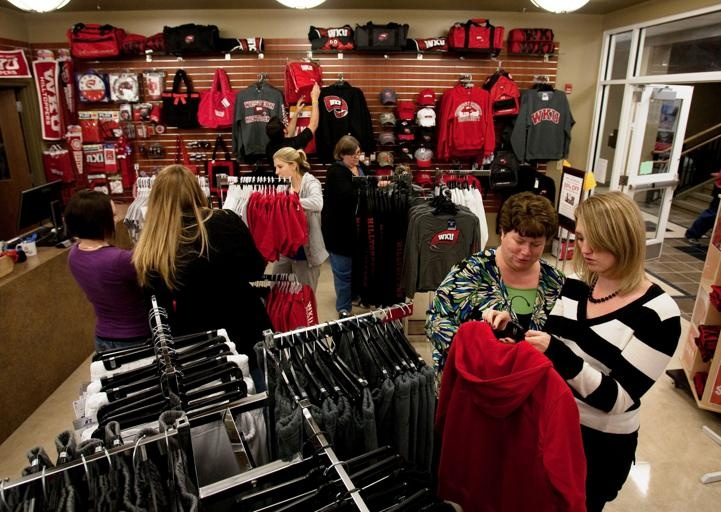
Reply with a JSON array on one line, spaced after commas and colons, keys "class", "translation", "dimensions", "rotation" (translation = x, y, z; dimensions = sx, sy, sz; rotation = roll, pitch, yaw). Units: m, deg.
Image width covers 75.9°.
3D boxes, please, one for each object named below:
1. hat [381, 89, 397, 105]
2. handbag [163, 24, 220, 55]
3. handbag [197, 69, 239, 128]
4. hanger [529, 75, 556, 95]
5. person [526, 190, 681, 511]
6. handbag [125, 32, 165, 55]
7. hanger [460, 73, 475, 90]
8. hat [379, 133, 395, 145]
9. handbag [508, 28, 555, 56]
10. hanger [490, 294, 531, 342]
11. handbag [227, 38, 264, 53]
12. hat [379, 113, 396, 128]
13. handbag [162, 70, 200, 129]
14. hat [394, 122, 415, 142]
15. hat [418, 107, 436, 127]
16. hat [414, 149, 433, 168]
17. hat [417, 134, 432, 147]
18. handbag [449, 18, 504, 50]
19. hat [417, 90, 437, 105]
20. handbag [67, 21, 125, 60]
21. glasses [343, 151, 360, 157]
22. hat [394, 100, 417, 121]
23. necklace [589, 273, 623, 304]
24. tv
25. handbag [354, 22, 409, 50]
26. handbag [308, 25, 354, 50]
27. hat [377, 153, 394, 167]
[{"class": "hat", "translation": [0.409, -2.331, 6.859], "dimensions": [0.229, 0.228, 0.307], "rotation": [0, 18, 10]}, {"class": "handbag", "translation": [-2.332, -2.941, 6.306], "dimensions": [0.670, 0.304, 0.462], "rotation": [-1, 10, -3]}, {"class": "handbag", "translation": [-2.111, -2.251, 6.650], "dimensions": [0.561, 0.791, 0.248], "rotation": [-6, 19, -9]}, {"class": "hanger", "translation": [2.723, -2.553, 6.912], "dimensions": [0.317, 0.111, 0.382], "rotation": [1, 31, 7]}, {"class": "person", "translation": [1.153, 0.497, 2.267], "dimensions": [0.635, 1.566, 0.472], "rotation": [-1, 19, 6]}, {"class": "handbag", "translation": [-3.028, -2.945, 6.463], "dimensions": [0.466, 0.163, 0.354], "rotation": [-4, 10, 1]}, {"class": "hanger", "translation": [1.559, -2.556, 6.808], "dimensions": [0.210, 0.239, 0.417], "rotation": [1, 17, 11]}, {"class": "hat", "translation": [0.401, -1.729, 6.860], "dimensions": [0.256, 0.166, 0.220], "rotation": [-5, 17, -8]}, {"class": "handbag", "translation": [2.500, -3.113, 6.798], "dimensions": [0.648, 0.347, 0.249], "rotation": [-5, 18, -8]}, {"class": "hanger", "translation": [0.761, 0.299, 2.434], "dimensions": [0.193, 0.254, 0.305], "rotation": [-2, -3, 20]}, {"class": "handbag", "translation": [-1.615, -2.933, 6.492], "dimensions": [0.372, 0.100, 0.261], "rotation": [-8, 18, -26]}, {"class": "hat", "translation": [0.393, -1.981, 6.850], "dimensions": [0.190, 0.120, 0.254], "rotation": [0, 22, 3]}, {"class": "handbag", "translation": [-2.666, -2.241, 6.725], "dimensions": [0.585, 0.810, 0.391], "rotation": [-10, 19, -20]}, {"class": "hat", "translation": [0.662, -1.788, 6.778], "dimensions": [0.228, 0.153, 0.299], "rotation": [-7, 42, -9]}, {"class": "hat", "translation": [0.975, -2.003, 6.745], "dimensions": [0.223, 0.289, 0.300], "rotation": [14, 24, 42]}, {"class": "hat", "translation": [0.930, -1.449, 6.958], "dimensions": [0.239, 0.299, 0.233], "rotation": [-9, 19, -18]}, {"class": "hat", "translation": [0.989, -1.699, 6.918], "dimensions": [0.265, 0.210, 0.116], "rotation": [-6, 19, -11]}, {"class": "handbag", "translation": [1.622, -3.103, 6.547], "dimensions": [0.698, 0.406, 0.257], "rotation": [1, 45, 0]}, {"class": "hat", "translation": [0.971, -2.330, 6.866], "dimensions": [0.298, 0.236, 0.321], "rotation": [0, 17, 7]}, {"class": "handbag", "translation": [-3.715, -2.917, 6.545], "dimensions": [0.715, 0.447, 0.512], "rotation": [3, 26, -3]}, {"class": "glasses", "translation": [-0.108, -1.052, 4.837], "dimensions": [0.117, 0.045, 0.086], "rotation": [-6, 12, 44]}, {"class": "hat", "translation": [0.663, -2.120, 6.850], "dimensions": [0.312, 0.298, 0.406], "rotation": [-1, 17, 4]}, {"class": "necklace", "translation": [1.195, 0.171, 2.251], "dimensions": [0.017, 0.106, 0.135], "rotation": [16, -4, -12]}, {"class": "tv", "translation": [-3.035, -0.389, 4.406], "dimensions": [0.394, 0.580, 0.837], "rotation": [-14, 20, -30]}, {"class": "handbag", "translation": [0.273, -3.024, 6.426], "dimensions": [0.747, 0.374, 0.209], "rotation": [-3, 18, -1]}, {"class": "handbag", "translation": [-0.410, -3.000, 6.412], "dimensions": [0.621, 0.322, 0.243], "rotation": [-3, 18, -1]}, {"class": "hat", "translation": [0.365, -1.413, 6.870], "dimensions": [0.230, 0.215, 0.161], "rotation": [-4, 18, -4]}]
